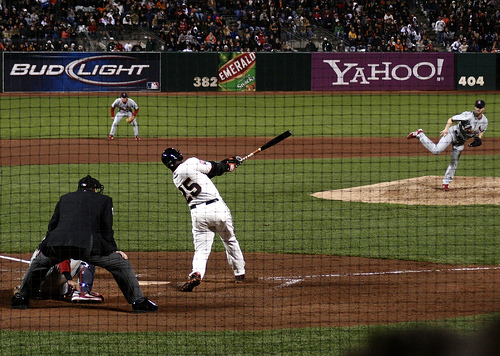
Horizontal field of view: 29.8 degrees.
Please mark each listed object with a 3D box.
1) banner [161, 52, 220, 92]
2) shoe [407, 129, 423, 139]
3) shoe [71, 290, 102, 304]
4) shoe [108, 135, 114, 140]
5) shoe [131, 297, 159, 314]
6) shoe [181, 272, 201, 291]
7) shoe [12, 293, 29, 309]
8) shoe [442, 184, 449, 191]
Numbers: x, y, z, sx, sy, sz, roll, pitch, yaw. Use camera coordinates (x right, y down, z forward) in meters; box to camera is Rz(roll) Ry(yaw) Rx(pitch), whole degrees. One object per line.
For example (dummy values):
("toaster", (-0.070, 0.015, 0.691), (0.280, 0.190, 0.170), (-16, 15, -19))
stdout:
("banner", (-2.843, -4.802, 42.875), (2.925, 1.808, 0.095), (3, 8, 23))
("shoe", (4.836, -1.276, 27.782), (0.547, 0.176, 0.205), (-14, 12, 1))
("shoe", (-3.823, 2.754, 21.629), (0.847, 0.314, 0.263), (0, 5, -5))
("shoe", (-5.227, -1.504, 34.951), (0.253, 0.110, 0.327), (-2, -3, -2))
("shoe", (-2.394, 2.923, 21.349), (0.638, 0.253, 0.276), (0, 5, -6))
("shoe", (-1.341, 2.399, 21.786), (0.224, 0.607, 0.257), (40, 17, -22))
("shoe", (-5.270, 2.820, 21.427), (0.445, 0.367, 0.252), (-1, 11, -6))
("shoe", (5.847, 0.288, 28.235), (0.166, 0.123, 0.179), (-1, 9, 5))
